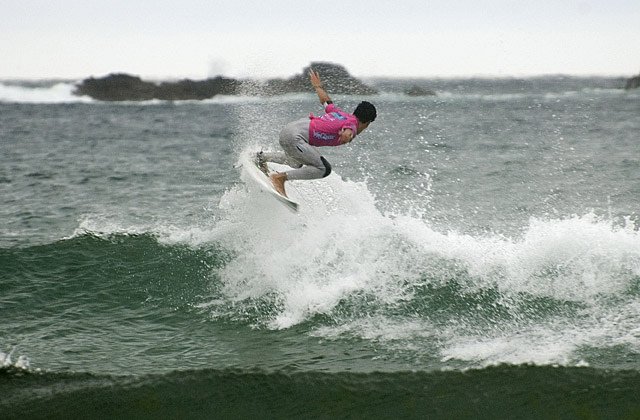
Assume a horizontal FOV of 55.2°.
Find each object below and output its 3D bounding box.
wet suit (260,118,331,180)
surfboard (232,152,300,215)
[{"bbox_3d":[-0.506,-1.259,12.592,0.666,1.240,1.264,-12,16,-40],"label":"wet suit"},{"bbox_3d":[-1.147,-0.625,12.871,1.959,0.724,0.301,44,4,27],"label":"surfboard"}]
